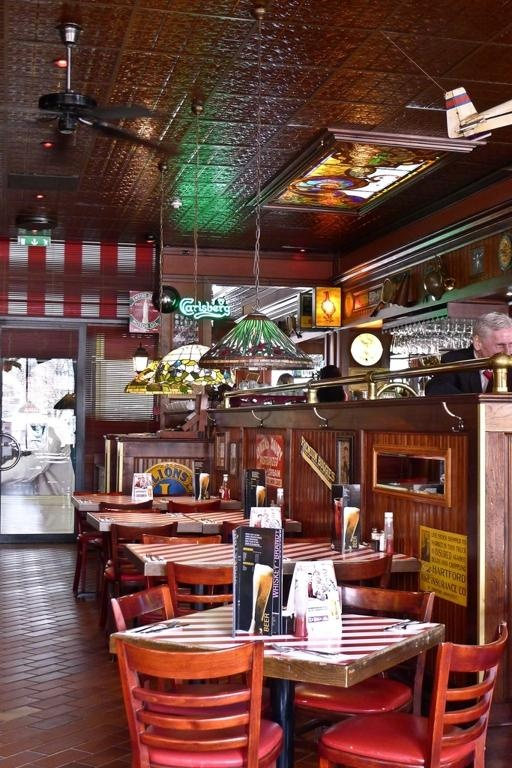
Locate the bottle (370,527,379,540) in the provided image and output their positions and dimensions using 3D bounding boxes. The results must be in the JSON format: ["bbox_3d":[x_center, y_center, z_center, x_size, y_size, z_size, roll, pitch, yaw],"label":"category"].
[{"bbox_3d":[0.666,0.849,3.598,0.054,0.064,0.068,0,-8,0],"label":"bottle"}]

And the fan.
[{"bbox_3d":[-1.162,-1.933,4.039,1.071,0.609,1.084,16,31,10],"label":"fan"}]

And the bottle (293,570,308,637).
[{"bbox_3d":[0.129,0.631,1.822,0.040,0.172,0.047,0,0,10],"label":"bottle"}]
